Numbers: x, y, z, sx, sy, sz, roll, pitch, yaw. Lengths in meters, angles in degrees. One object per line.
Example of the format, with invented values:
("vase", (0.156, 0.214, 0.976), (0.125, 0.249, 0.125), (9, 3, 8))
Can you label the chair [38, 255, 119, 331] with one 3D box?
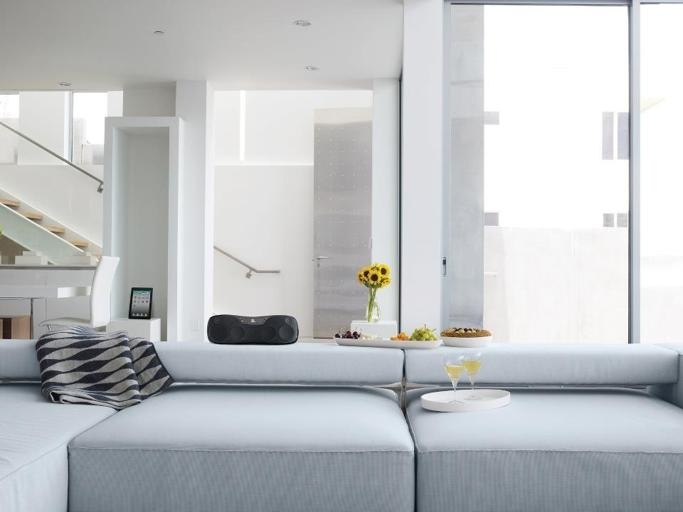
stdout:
("chair", (-2.312, 0.384, 7.395), (0.487, 1.263, 0.427), (1, -2, 0))

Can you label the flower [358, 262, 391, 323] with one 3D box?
("flower", (0.244, 0.254, 6.192), (0.173, 0.464, 0.284), (3, 0, 4))

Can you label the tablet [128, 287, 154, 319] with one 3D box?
("tablet", (-1.963, 0.454, 8.000), (0.307, 0.431, 0.030), (0, -14, -2))

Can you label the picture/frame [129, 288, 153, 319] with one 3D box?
("picture/frame", (-1.956, 0.454, 7.974), (0.292, 0.410, 0.029), (0, -14, -2))
